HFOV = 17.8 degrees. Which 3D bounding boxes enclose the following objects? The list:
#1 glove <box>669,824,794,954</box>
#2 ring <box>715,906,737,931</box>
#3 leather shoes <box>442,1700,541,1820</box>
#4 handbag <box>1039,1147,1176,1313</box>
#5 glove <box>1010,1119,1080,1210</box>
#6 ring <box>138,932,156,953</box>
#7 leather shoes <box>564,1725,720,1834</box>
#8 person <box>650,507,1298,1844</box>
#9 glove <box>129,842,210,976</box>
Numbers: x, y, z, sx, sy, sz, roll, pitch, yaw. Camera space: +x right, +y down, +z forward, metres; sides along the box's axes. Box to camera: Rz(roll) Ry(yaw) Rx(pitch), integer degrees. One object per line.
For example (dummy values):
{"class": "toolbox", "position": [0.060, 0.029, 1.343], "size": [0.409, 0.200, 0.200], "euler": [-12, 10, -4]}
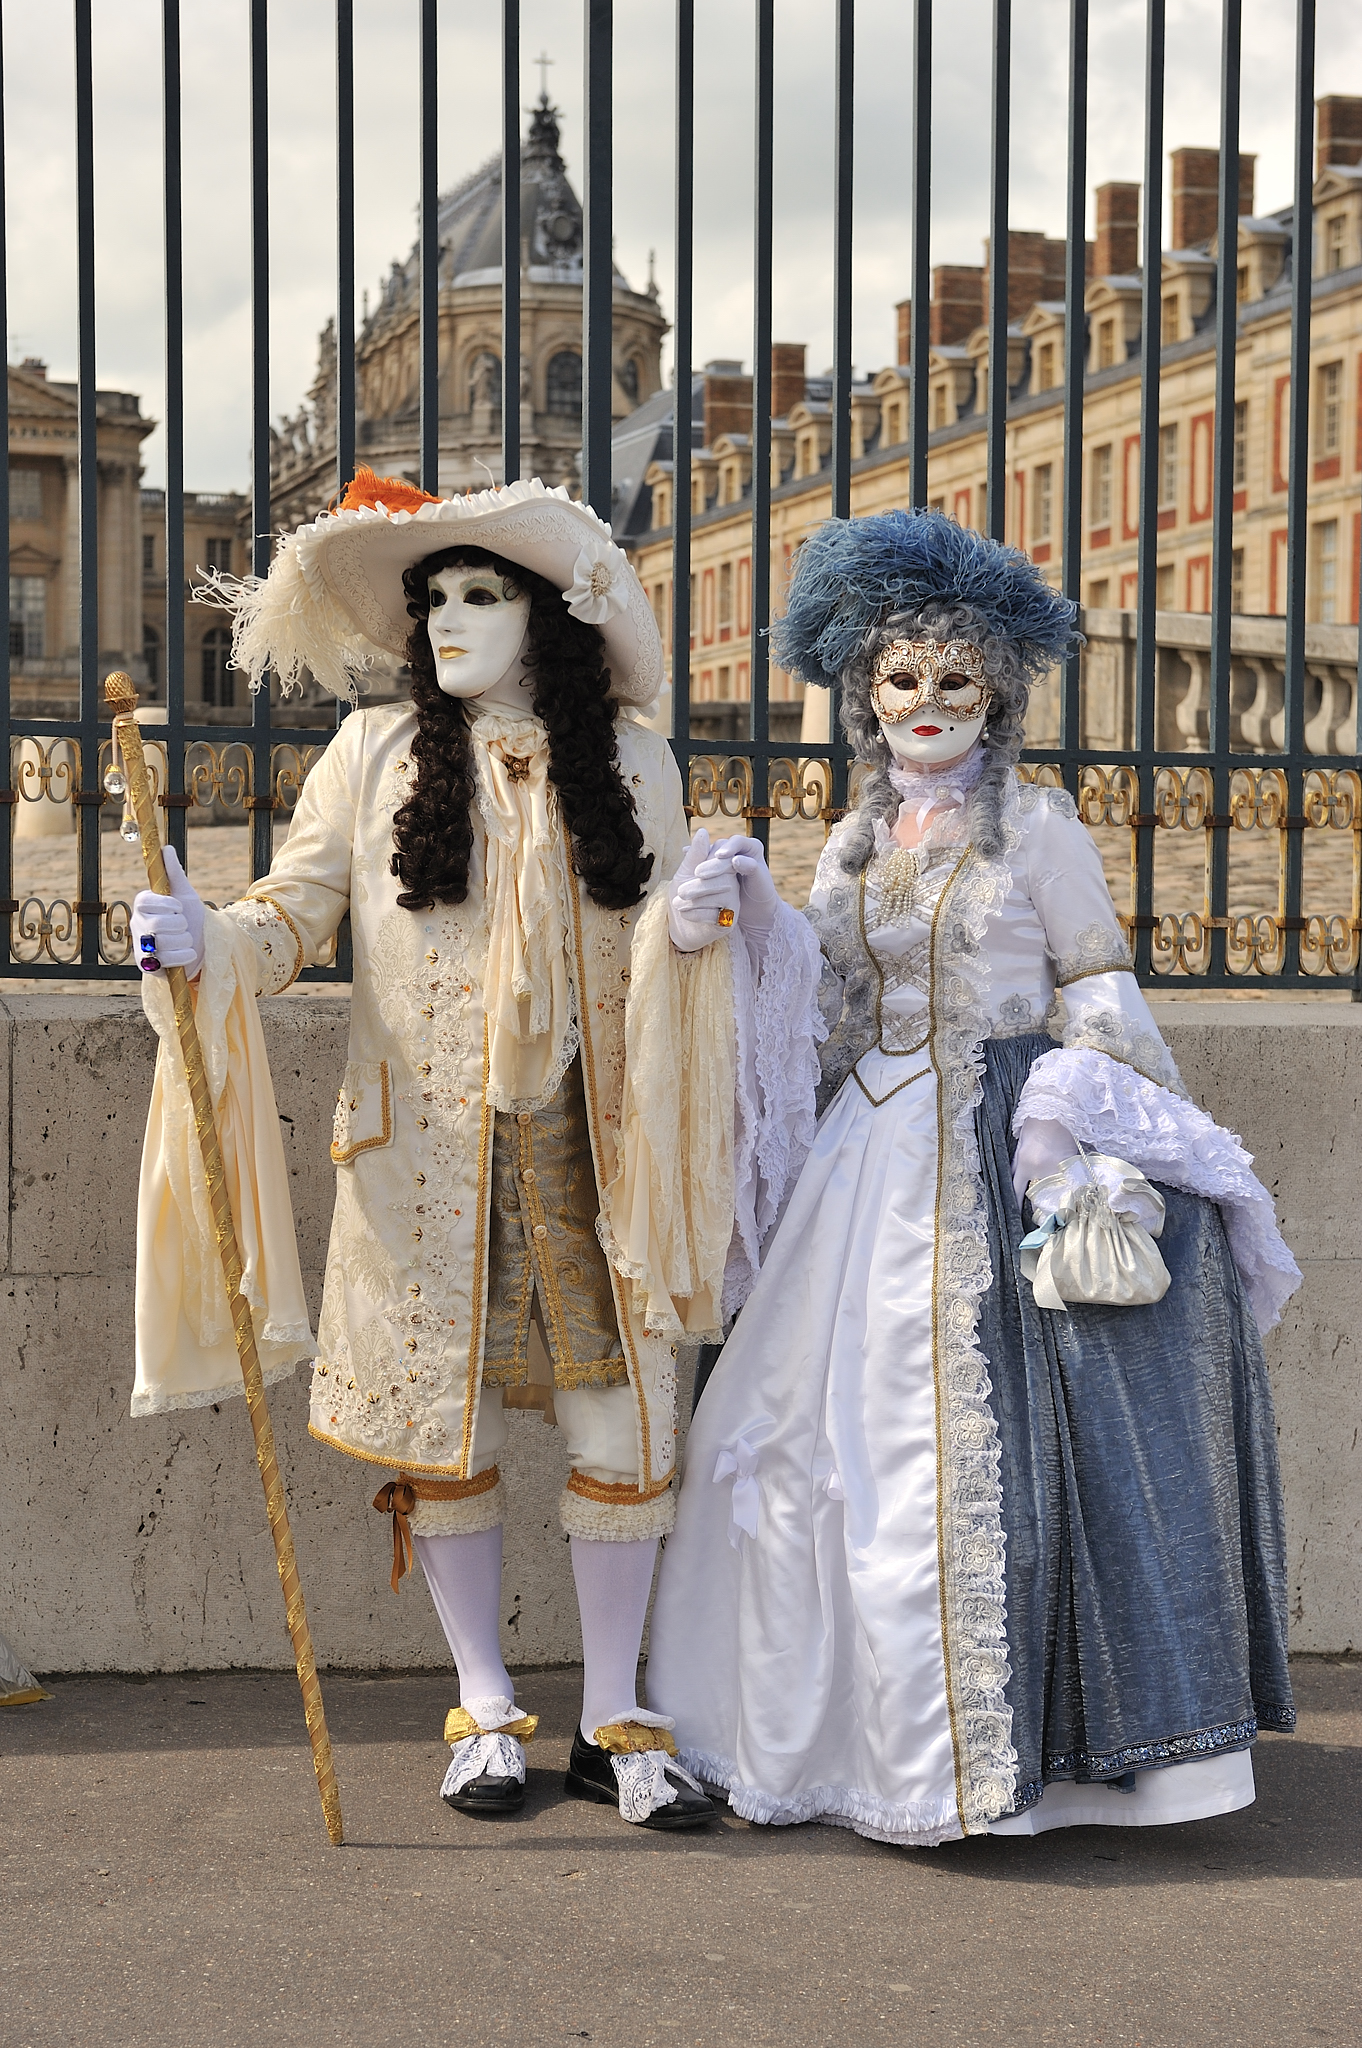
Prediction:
{"class": "glove", "position": [0.046, -0.171, 6.319], "size": [0.109, 0.204, 0.183], "euler": [4, -18, 35]}
{"class": "ring", "position": [0.066, -0.147, 6.270], "size": [0.009, 0.034, 0.031], "euler": [7, 6, 36]}
{"class": "leather shoes", "position": [-0.286, 1.081, 6.433], "size": [0.129, 0.127, 0.275], "euler": [1, 12, -1]}
{"class": "handbag", "position": [0.597, 0.301, 6.232], "size": [0.185, 0.197, 0.129], "euler": [3, 12, 5]}
{"class": "glove", "position": [0.521, 0.205, 6.257], "size": [0.075, 0.119, 0.113], "euler": [2, -19, 0]}
{"class": "ring", "position": [-0.749, -0.112, 6.154], "size": [0.020, 0.039, 0.026], "euler": [-8, 8, -40]}
{"class": "leather shoes", "position": [-0.060, 1.109, 6.352], "size": [0.111, 0.106, 0.210], "euler": [0, -1, -42]}
{"class": "person", "position": [0.461, 0.229, 6.364], "size": [0.946, 1.846, 0.786], "euler": [5, 12, 17]}
{"class": "glove", "position": [-0.730, -0.154, 6.242], "size": [0.106, 0.182, 0.197], "euler": [0, 12, -8]}
